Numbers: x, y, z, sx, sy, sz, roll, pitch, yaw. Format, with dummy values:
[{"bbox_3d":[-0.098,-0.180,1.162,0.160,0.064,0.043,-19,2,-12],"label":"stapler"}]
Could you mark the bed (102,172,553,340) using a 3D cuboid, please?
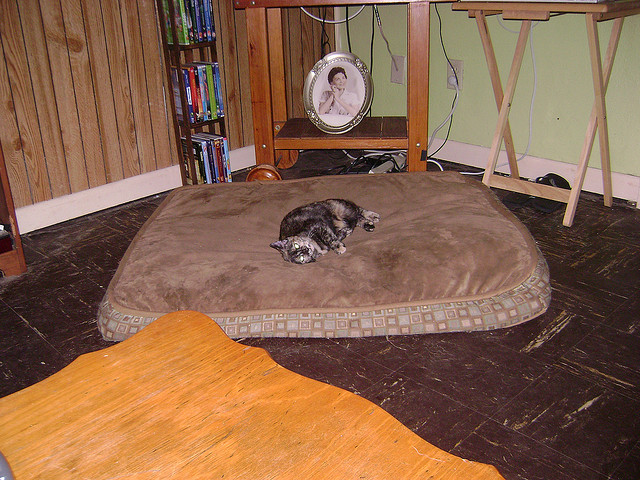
[{"bbox_3d":[0.065,0.107,1.979,1.420,0.159,0.859,0,30,-1],"label":"bed"}]
